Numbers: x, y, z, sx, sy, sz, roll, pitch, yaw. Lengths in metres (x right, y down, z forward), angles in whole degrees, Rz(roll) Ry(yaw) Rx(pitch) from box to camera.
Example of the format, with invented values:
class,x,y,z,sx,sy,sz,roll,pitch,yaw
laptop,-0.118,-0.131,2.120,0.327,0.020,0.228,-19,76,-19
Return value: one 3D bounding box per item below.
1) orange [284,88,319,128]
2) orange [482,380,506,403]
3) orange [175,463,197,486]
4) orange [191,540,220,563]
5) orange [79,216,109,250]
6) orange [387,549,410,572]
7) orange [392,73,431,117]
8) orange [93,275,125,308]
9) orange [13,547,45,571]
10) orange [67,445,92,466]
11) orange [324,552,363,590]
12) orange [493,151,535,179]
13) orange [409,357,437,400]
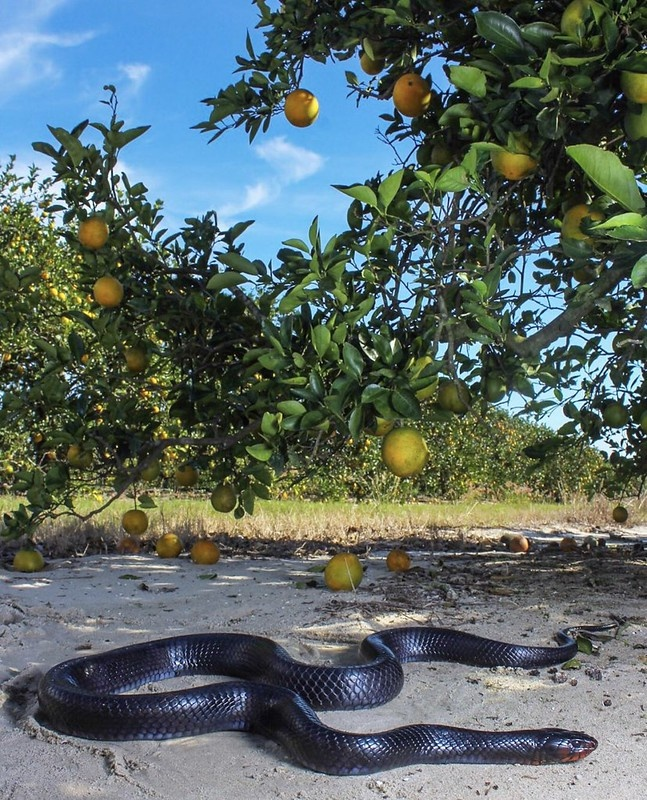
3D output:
class,x,y,z,sx,sy,sz,roll,pitch,yaw
orange,-0.115,-1.541,4.311,0.166,0.188,0.322,-13,23,1
orange,1.029,-0.061,4.924,0.103,0.136,0.160,-3,26,23
orange,-0.953,0.535,5.752,0.189,0.181,0.168,2,-14,-6
orange,-1.026,1.294,6.965,0.231,0.217,0.212,-11,-6,17
orange,-1.302,-0.937,4.632,0.166,0.182,0.165,-16,25,-4
orange,0.628,1.317,6.702,0.193,0.180,0.170,-2,4,16
orange,0.453,-1.543,4.146,0.181,0.214,0.247,-9,24,11
orange,-1.226,-0.633,4.804,0.216,0.200,0.186,2,-8,3
orange,-2.398,1.293,6.697,0.211,0.177,0.207,6,0,42
orange,-1.524,0.355,5.159,0.156,0.134,0.154,-4,49,-13
orange,0.141,1.181,5.617,0.301,0.277,0.262,5,-8,-4
orange,0.861,-1.038,3.654,0.155,0.089,0.128,-1,-3,-22
orange,0.388,-0.105,3.430,0.071,0.168,0.158,-21,-25,24
